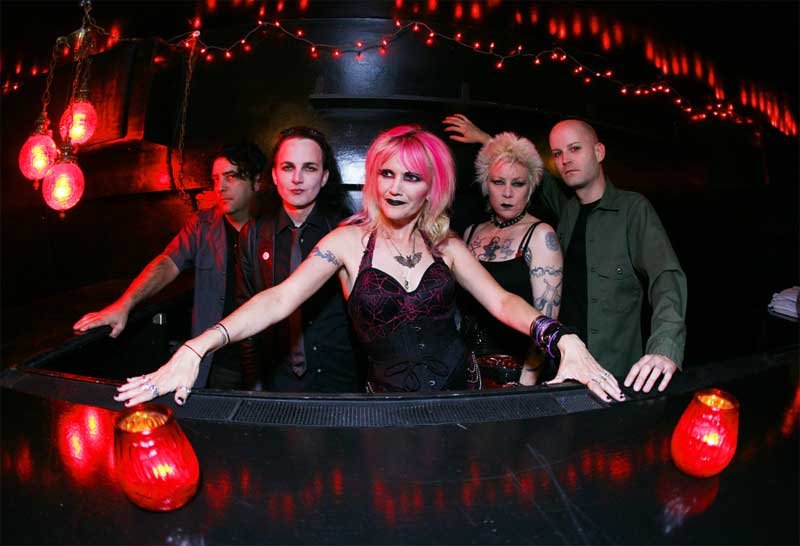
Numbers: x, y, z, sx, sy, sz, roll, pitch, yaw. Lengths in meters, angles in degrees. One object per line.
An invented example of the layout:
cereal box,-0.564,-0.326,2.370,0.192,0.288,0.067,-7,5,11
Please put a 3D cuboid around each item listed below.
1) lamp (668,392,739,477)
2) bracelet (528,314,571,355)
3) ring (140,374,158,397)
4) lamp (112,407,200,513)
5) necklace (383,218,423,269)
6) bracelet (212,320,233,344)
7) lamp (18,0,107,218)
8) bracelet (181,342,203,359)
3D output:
lamp,1.188,0.636,2.265,0.216,0.310,0.209,5,12,-11
bracelet,0.692,0.277,2.680,0.146,0.086,0.178,17,-6,-1
ring,-1.048,0.470,2.439,0.080,0.030,0.079,0,44,0
lamp,-0.859,0.671,2.192,0.282,0.363,0.364,-8,14,-26
necklace,0.031,-0.157,3.043,0.192,0.197,0.087,-2,-26,-20
bracelet,-0.806,0.271,2.662,0.035,0.086,0.088,-11,-7,10
lamp,-2.490,-1.235,4.373,0.594,1.655,1.389,-3,12,-26
bracelet,-0.918,0.339,2.544,0.101,0.064,0.047,9,12,28
